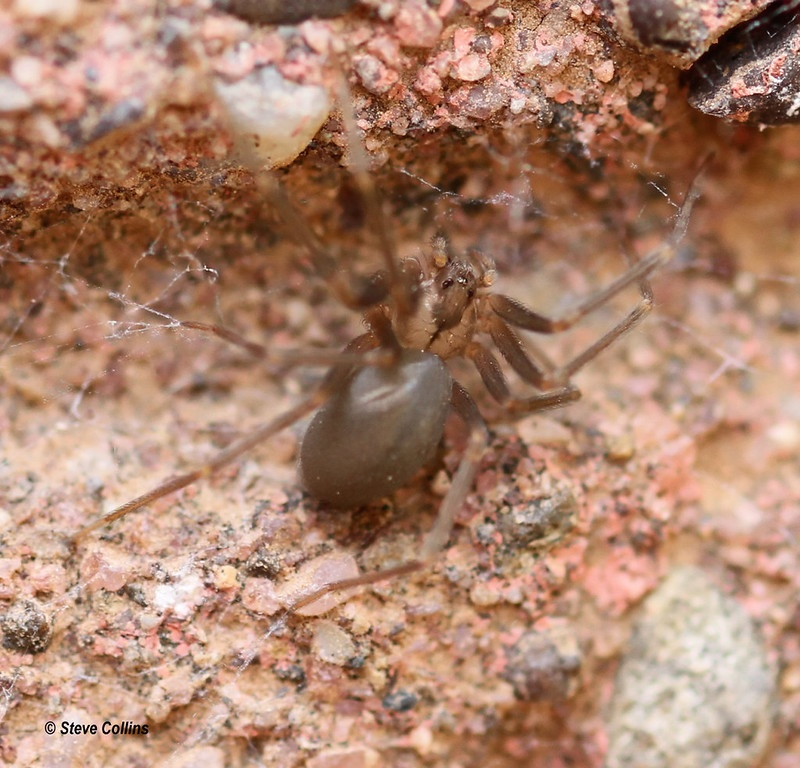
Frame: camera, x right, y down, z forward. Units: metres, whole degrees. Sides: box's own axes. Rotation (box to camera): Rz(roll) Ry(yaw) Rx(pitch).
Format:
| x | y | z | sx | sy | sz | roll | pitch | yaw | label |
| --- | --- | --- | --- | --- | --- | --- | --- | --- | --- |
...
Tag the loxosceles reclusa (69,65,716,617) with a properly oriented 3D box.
| x | y | z | sx | sy | sz | roll | pitch | yaw | label |
| --- | --- | --- | --- | --- | --- | --- | --- | --- | --- |
| -0.086 | -0.078 | 1.627 | 0.870 | 0.528 | 1.025 | 29 | 84 | 1 | loxosceles reclusa |
